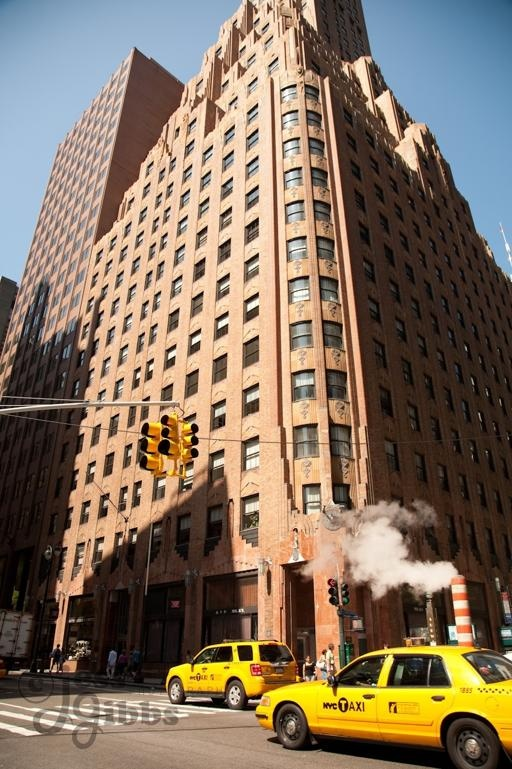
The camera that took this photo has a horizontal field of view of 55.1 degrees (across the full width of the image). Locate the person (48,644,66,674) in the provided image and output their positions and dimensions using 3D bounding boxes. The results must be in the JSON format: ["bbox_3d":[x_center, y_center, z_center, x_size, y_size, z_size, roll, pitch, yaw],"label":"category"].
[{"bbox_3d":[-13.572,18.840,33.908,0.854,1.653,3.542,9,-28,-17],"label":"person"}]

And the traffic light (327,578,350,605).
[{"bbox_3d":[2.694,6.750,16.025,0.568,0.877,1.488,-2,-27,6],"label":"traffic light"}]

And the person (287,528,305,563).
[{"bbox_3d":[1.867,7.288,22.107,0.200,1.459,0.853,25,-46,-23],"label":"person"}]
